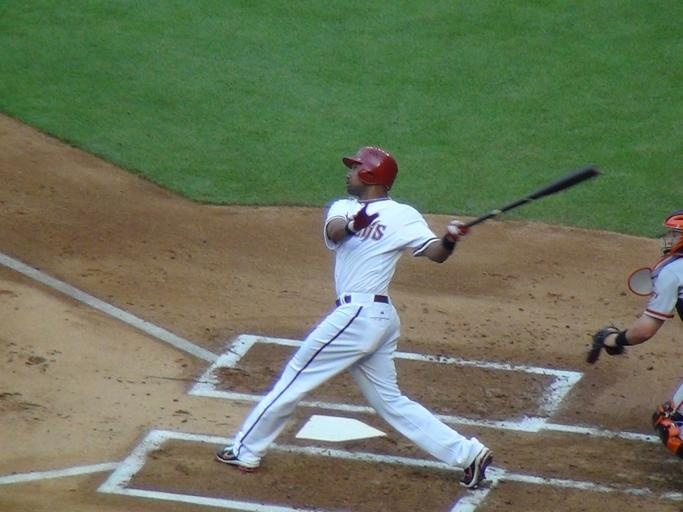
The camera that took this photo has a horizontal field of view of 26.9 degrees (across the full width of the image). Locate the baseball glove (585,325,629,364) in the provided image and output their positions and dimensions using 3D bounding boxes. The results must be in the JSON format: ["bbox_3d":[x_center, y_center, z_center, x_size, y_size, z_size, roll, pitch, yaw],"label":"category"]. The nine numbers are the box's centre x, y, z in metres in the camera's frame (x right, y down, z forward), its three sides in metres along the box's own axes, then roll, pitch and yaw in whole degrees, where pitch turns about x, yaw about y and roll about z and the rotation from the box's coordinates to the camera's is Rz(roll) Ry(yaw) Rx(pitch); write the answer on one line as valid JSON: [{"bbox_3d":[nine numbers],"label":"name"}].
[{"bbox_3d":[2.853,0.914,15.219,0.297,0.197,0.607,-8,17,27],"label":"baseball glove"}]

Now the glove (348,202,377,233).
[{"bbox_3d":[0.219,-0.364,14.793,0.275,0.290,0.269,9,15,2],"label":"glove"}]

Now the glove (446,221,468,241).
[{"bbox_3d":[1.201,-0.258,14.819,0.214,0.162,0.210,4,-5,-20],"label":"glove"}]

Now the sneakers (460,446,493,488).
[{"bbox_3d":[1.435,2.243,15.073,0.283,0.533,0.202,24,35,-2],"label":"sneakers"}]

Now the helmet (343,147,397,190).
[{"bbox_3d":[0.310,-0.951,15.228,0.642,0.378,0.398,14,-1,-4],"label":"helmet"}]

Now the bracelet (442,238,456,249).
[{"bbox_3d":[1.108,-0.128,14.764,0.136,0.104,0.121,-10,19,-24],"label":"bracelet"}]
